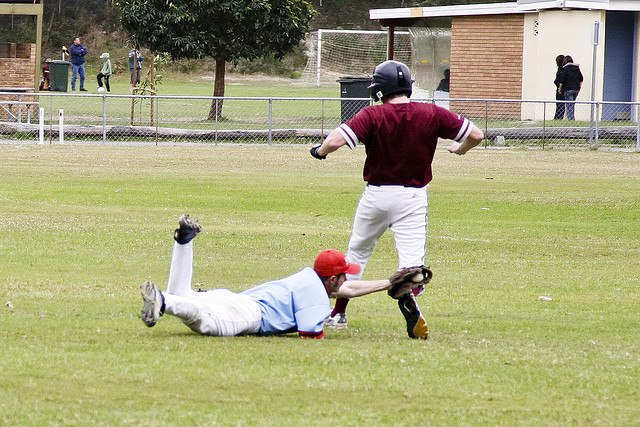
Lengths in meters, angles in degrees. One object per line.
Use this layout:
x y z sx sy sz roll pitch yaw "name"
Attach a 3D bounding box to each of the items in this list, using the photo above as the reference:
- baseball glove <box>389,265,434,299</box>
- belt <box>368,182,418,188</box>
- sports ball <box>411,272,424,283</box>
1.404 1.063 20.472 0.816 0.338 0.341 -17 19 -13 "baseball glove"
1.156 -0.425 20.470 0.740 0.051 0.062 1 13 2 "belt"
1.518 1.027 20.387 0.180 0.104 0.201 -1 -4 5 "sports ball"
